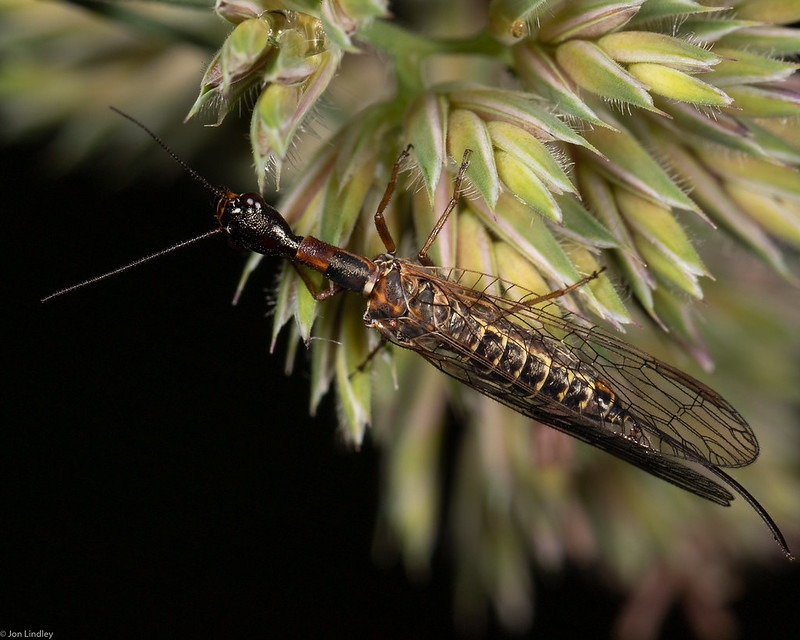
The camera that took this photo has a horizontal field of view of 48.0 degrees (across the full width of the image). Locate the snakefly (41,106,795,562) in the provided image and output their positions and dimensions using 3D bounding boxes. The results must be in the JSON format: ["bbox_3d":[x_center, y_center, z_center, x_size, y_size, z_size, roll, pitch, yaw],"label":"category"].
[{"bbox_3d":[0.017,-0.107,2.309,1.994,0.312,0.923,29,-52,5],"label":"snakefly"}]
